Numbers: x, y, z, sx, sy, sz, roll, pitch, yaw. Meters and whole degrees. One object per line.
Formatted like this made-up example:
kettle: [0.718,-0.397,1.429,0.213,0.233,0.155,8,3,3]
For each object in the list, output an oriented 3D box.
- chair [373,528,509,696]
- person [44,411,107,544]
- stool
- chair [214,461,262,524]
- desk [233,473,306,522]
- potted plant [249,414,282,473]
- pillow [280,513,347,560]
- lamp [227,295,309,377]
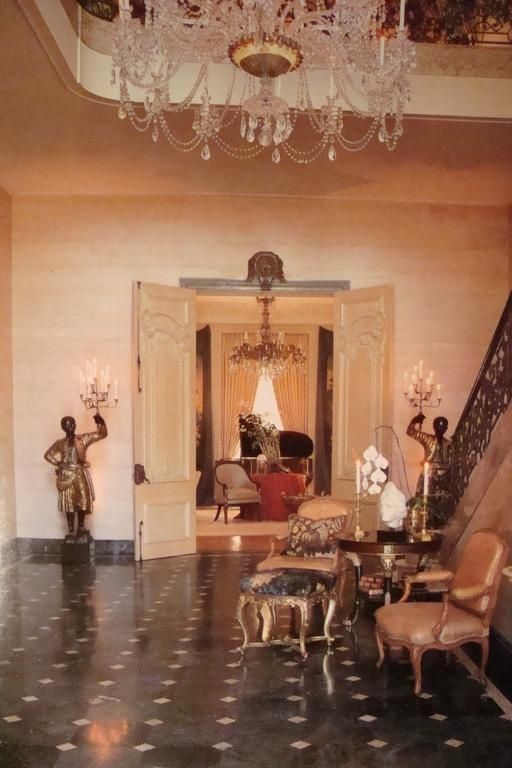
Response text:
chair: [1.115,1.405,4.459,0.926,1.152,0.810,4,-7,-17]
person: [-2.150,1.113,8.137,0.695,1.483,0.423,2,-5,-15]
stool: [0.245,1.612,5.019,0.691,0.557,1.095,0,-5,4]
chair: [-0.336,1.942,12.217,0.713,1.066,0.687,2,-6,-21]
desk: [0.155,2.045,12.801,1.302,0.914,1.366,5,0,31]
potted plant: [0.245,1.169,13.484,0.527,1.111,1.528,0,-5,0]
pillow: [0.476,1.182,5.321,0.368,0.352,0.111,-4,-35,37]
lamp: [0.260,-1.001,13.545,1.530,1.704,1.527,0,-9,2]
